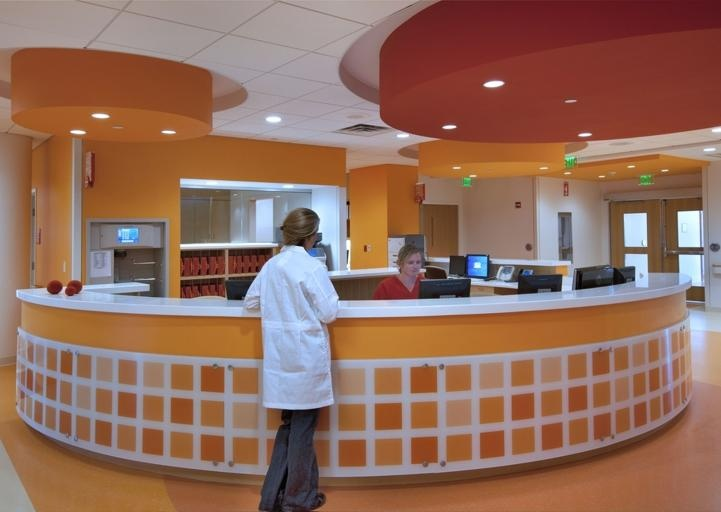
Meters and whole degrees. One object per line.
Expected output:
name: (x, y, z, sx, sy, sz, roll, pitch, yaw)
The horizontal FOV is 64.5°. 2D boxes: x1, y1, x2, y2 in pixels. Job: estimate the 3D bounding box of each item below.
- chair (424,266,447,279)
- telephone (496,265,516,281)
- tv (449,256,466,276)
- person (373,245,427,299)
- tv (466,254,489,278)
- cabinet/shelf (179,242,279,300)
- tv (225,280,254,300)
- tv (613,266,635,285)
chair: (1.328, 0.296, 10.156, 0.292, 0.316, 0.258, -1, 5, -16)
telephone: (2.573, 0.308, 10.110, 0.286, 0.251, 0.100, 7, -14, 36)
tv: (1.819, 0.188, 10.730, 0.201, 0.346, 0.382, 0, 0, -29)
person: (0.492, 0.214, 6.310, 0.761, 0.610, 0.393, 3, 3, -22)
tv: (2.126, 0.192, 10.376, 0.427, 0.382, 0.169, 0, -4, 44)
cabinet/shelf: (-2.149, 0.345, 9.405, 1.731, 0.940, 0.360, -3, -4, 10)
tv: (-1.233, 0.319, 5.681, 0.282, 0.164, 0.270, 1, 0, -16)
tv: (3.028, 0.233, 6.579, 0.199, 0.172, 0.106, -1, -3, -36)
